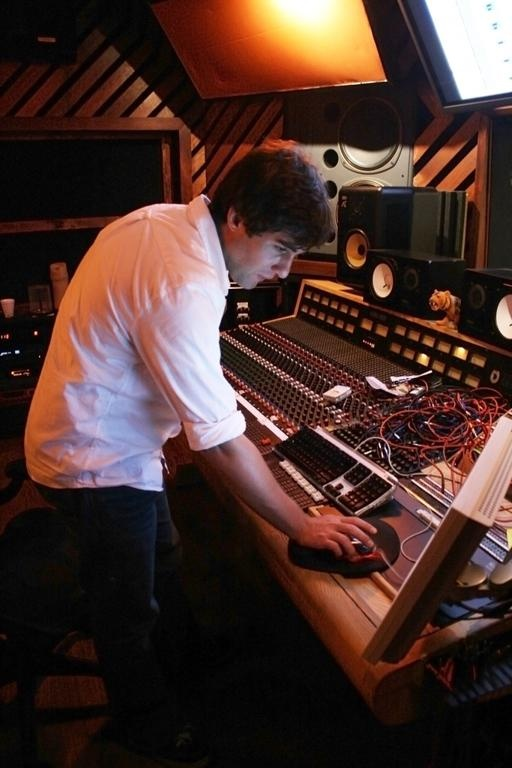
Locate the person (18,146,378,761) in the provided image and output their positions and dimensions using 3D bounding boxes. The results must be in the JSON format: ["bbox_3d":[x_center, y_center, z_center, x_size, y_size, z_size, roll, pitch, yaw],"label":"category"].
[{"bbox_3d":[-0.187,0.254,1.226,0.547,1.483,0.808,-4,12,-29],"label":"person"}]

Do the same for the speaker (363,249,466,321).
[{"bbox_3d":[0.541,-0.376,2.003,0.164,0.183,0.291,-12,24,-35],"label":"speaker"}]

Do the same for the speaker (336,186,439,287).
[{"bbox_3d":[0.540,-0.662,2.403,0.374,0.361,0.274,-16,27,-31],"label":"speaker"}]

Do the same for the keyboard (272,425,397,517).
[{"bbox_3d":[0.185,0.204,1.246,0.119,0.060,0.306,-28,28,-11],"label":"keyboard"}]
